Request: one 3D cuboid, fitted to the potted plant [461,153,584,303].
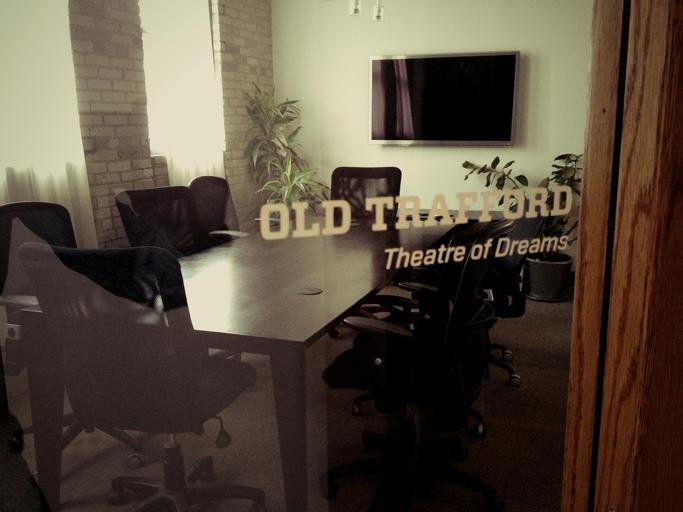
[{"bbox_3d":[0.439,-0.079,1.297,0.326,0.329,0.142,-2,4,-9],"label":"potted plant"}]
